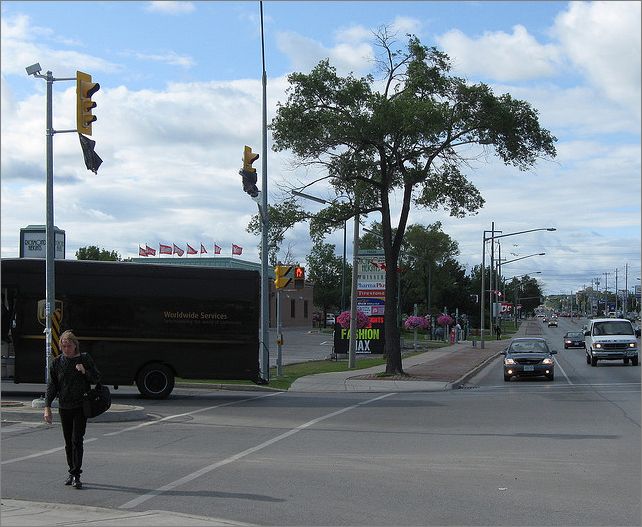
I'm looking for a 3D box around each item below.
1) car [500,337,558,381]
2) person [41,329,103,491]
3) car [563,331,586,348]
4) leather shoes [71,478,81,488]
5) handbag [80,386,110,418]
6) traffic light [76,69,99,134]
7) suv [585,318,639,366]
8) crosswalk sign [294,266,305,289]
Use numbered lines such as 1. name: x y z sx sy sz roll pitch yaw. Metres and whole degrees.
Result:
1. car: 7.569 3.460 27.476 2.000 1.550 2.775 0 -4 20
2. person: -3.484 2.027 10.681 0.673 1.965 0.906 0 -2 9
3. car: 18.033 5.413 53.948 1.288 1.238 1.932 -2 -5 17
4. leather shoes: -3.329 2.968 10.287 0.074 0.084 0.194 1 -5 -9
5. handbag: -3.103 1.907 10.553 0.326 0.448 0.359 -1 -4 6
6. traffic light: -5.403 -3.655 17.403 0.488 1.396 0.459 1 -4 -19
7. suv: 12.993 3.510 33.971 2.119 2.082 1.949 -2 -5 19
8. crosswalk sign: -0.793 0.477 26.280 0.367 0.802 0.717 0 -4 -7
